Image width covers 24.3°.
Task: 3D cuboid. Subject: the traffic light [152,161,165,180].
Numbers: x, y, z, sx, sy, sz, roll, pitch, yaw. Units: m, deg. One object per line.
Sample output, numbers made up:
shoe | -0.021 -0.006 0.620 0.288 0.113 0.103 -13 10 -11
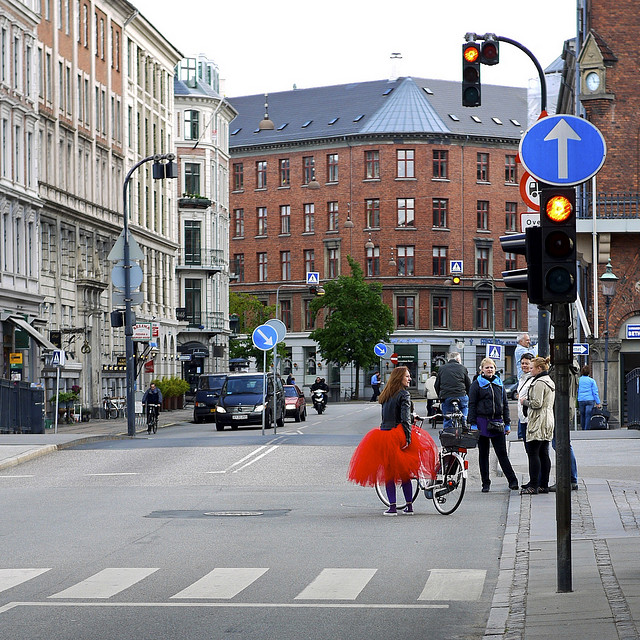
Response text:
traffic light | -4.521 -4.205 41.887 0.302 0.577 1.431 -1 -5 -6

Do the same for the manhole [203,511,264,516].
manhole | -1.024 2.326 17.770 0.649 0.046 0.484 -2 -5 2

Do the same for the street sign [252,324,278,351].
street sign | -1.311 0.437 36.213 0.570 0.619 1.339 -2 -5 -2

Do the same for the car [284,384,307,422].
car | -0.823 2.798 49.186 0.664 1.267 1.985 -2 -5 -2

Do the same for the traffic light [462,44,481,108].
traffic light | 2.090 -3.407 20.719 0.237 0.825 0.663 -2 -4 6

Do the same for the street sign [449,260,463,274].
street sign | 8.460 -3.221 93.078 0.781 0.751 0.087 -1 16 0

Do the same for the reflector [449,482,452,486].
reflector | 1.533 1.948 17.616 0.044 0.048 0.011 -2 -2 27

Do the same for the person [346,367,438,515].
person | 0.865 1.456 17.663 1.034 1.748 0.549 -2 -4 4

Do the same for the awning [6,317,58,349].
awning | -8.713 0.422 45.436 0.788 1.119 2.373 1 -6 -33

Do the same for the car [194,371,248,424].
car | -3.566 2.836 53.911 1.516 1.896 3.347 -2 -2 3

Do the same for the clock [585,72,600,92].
clock | 7.642 -6.651 41.897 0.065 0.541 0.463 1 -8 -42

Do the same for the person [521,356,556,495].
person | 2.768 1.376 19.080 0.441 1.749 0.772 -2 -4 8

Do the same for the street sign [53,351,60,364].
street sign | -6.521 0.965 37.008 0.159 0.312 0.326 -1 -5 -10

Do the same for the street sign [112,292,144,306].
street sign | -5.142 -0.553 40.083 0.663 0.417 0.094 0 -4 9

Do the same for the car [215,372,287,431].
car | -2.006 2.330 42.232 1.109 1.183 2.352 -2 -6 9

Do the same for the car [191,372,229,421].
car | -4.000 2.742 53.227 1.252 1.457 2.671 0 -4 0

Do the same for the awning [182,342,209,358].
awning | -6.806 1.680 82.218 1.198 0.862 1.988 -3 -5 5

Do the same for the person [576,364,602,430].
person | 6.040 1.882 33.701 0.477 1.193 1.935 -3 -5 10

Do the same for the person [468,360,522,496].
person | 2.288 1.448 19.794 0.635 1.767 1.129 -2 -4 8

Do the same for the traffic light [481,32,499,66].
traffic light | 2.337 -3.747 20.749 0.177 0.494 0.353 -5 -5 40

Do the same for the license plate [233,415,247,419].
license plate | -2.196 2.712 41.068 0.382 0.103 0.101 -2 -4 -1
